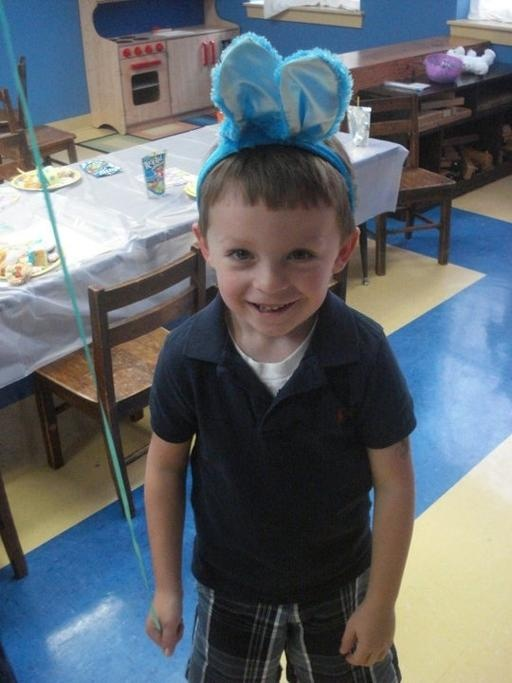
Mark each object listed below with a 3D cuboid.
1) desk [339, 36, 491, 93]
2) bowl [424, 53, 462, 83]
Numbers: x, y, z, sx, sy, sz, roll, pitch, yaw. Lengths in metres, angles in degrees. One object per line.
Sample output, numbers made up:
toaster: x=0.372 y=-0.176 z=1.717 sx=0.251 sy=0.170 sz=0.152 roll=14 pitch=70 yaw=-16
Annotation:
desk: x=1.040 y=-2.033 z=4.005 sx=0.555 sy=0.307 sz=1.608 roll=19 pitch=34 yaw=34
bowl: x=1.270 y=-1.901 z=3.732 sx=0.223 sy=0.116 sz=0.239 roll=-3 pitch=41 yaw=3
